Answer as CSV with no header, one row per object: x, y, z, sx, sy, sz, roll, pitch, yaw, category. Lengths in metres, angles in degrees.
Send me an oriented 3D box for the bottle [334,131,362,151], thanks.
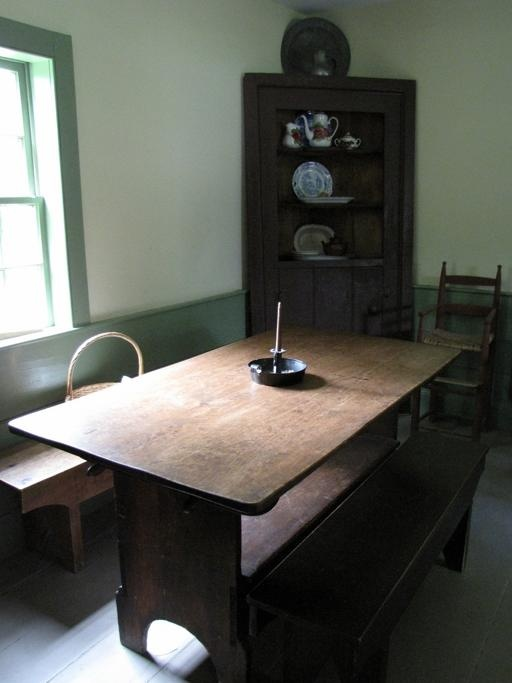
0.596,-1.302,3.704,0.184,0.123,0.132,7,26,21,bottle

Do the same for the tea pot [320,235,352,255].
0.536,-0.650,3.795,0.166,0.118,0.135,-5,8,-42,tea pot

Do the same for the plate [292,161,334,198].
0.382,-1.074,3.782,0.285,0.277,0.037,-15,15,-22,plate

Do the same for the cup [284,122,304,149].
0.250,-1.315,3.621,0.166,0.170,0.081,-6,13,-26,cup

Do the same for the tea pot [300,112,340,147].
0.443,-1.375,3.703,0.308,0.227,0.153,-11,15,-41,tea pot
